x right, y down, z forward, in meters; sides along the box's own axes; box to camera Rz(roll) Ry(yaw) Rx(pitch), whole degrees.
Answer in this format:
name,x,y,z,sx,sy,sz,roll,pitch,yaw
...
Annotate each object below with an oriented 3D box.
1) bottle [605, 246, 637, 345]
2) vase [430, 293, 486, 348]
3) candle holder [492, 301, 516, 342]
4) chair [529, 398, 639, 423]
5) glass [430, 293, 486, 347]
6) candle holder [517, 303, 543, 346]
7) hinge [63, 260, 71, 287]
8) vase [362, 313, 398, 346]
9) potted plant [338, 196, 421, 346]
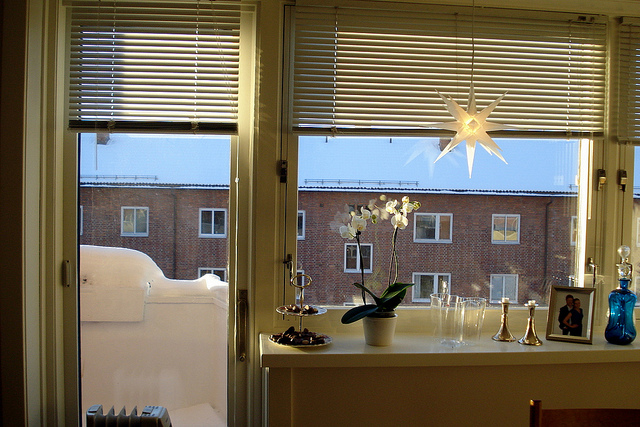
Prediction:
name,x,y,z,sx,sy,sz,roll,pitch,yaw
bottle,1.640,0.448,4.177,0.161,0.532,0.078,0,-1,14
vase,0.743,0.584,4.141,0.283,0.275,0.121,0,-1,6
candle holder,1.016,0.608,4.220,0.182,0.276,0.182,1,-6,6
chair,1.192,0.900,3.490,0.529,0.109,0.104,0,-1,-10
glass,0.765,0.589,4.248,0.274,0.260,0.330,-1,-1,-14
candle holder,1.155,0.603,4.191,0.141,0.215,0.137,1,3,17
hinge,-1.394,0.332,4.193,0.040,0.148,0.014,1,-1,-23
vase,0.319,0.624,4.077,0.163,0.119,0.161,2,-5,-13
potted plant,0.330,0.307,4.181,0.468,0.811,0.394,0,-1,1
